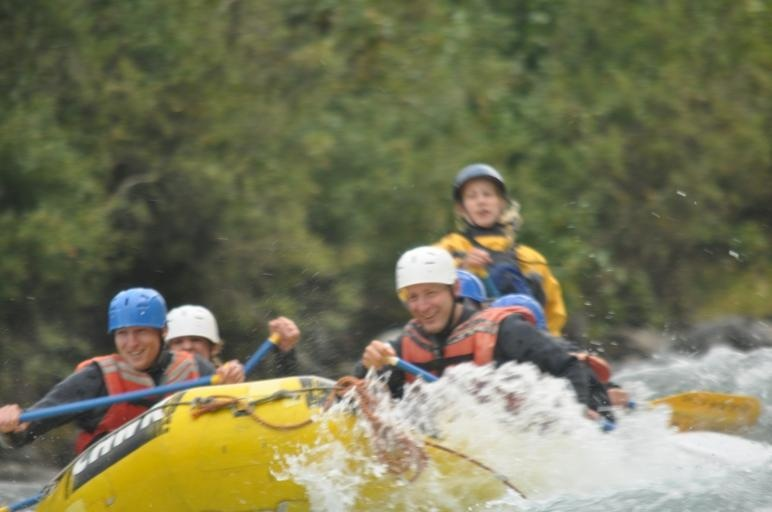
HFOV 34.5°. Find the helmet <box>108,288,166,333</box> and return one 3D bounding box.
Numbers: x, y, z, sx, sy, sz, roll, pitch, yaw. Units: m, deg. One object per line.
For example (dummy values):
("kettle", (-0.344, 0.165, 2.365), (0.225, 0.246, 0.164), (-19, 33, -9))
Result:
("helmet", (-2.245, 0.491, 11.451), (0.416, 0.322, 0.484), (-2, -15, 4))
